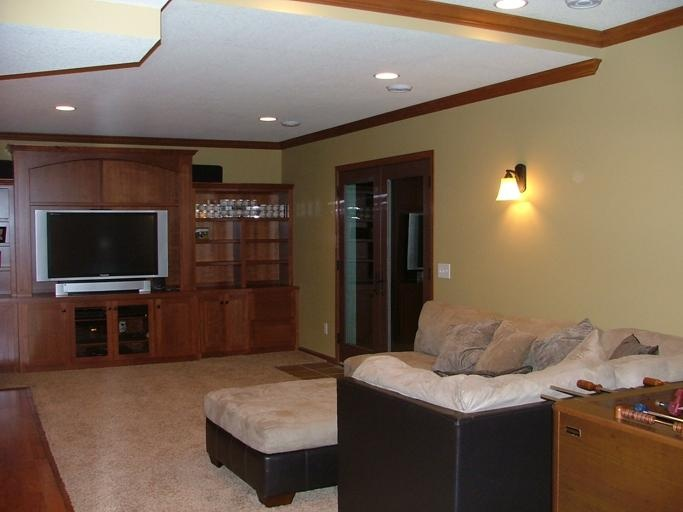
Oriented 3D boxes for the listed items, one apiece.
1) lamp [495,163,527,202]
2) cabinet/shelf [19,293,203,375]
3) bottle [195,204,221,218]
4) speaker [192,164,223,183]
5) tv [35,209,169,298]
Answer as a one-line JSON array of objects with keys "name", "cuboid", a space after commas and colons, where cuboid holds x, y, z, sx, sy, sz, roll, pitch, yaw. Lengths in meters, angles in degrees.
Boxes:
[{"name": "lamp", "cuboid": [1.448, -0.644, 4.434, 0.236, 0.324, 0.224, -6, 6, -45]}, {"name": "cabinet/shelf", "cuboid": [-3.024, 0.991, 6.759, 2.070, 0.837, 0.501, 1, -2, -37]}, {"name": "bottle", "cuboid": [-1.911, -0.643, 7.397, 0.349, 0.213, 0.173, -2, 4, -11]}, {"name": "speaker", "cuboid": [-1.962, -1.198, 7.438, 0.396, 0.323, 0.097, 3, 2, -19]}, {"name": "tv", "cuboid": [-3.235, -0.037, 6.771, 1.326, 0.830, 0.188, -1, 3, -21]}]
